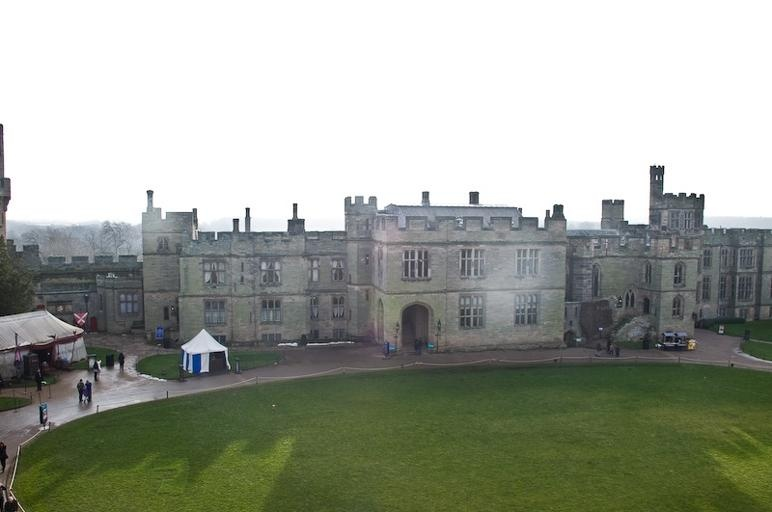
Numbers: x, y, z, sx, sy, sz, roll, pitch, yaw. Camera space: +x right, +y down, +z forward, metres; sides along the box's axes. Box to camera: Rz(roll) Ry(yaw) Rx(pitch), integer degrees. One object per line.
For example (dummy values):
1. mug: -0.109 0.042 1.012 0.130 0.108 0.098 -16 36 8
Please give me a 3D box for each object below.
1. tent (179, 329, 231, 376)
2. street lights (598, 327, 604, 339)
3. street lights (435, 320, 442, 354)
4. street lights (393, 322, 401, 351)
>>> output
1. tent: -18.916 10.157 90.192 4.739 3.315 5.452 -2 -1 42
2. street lights: 25.596 9.289 103.968 0.430 1.136 1.005 -2 -2 44
3. street lights: 5.814 8.935 95.600 0.812 3.488 0.590 -1 -1 2
4. street lights: 1.195 8.970 95.279 0.858 3.322 0.834 -1 -1 -5
